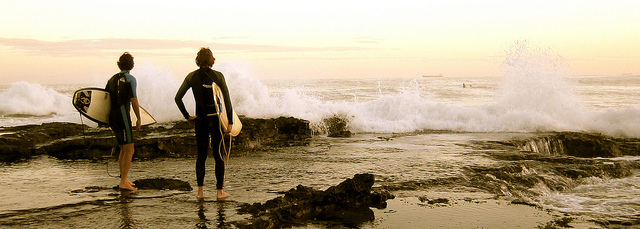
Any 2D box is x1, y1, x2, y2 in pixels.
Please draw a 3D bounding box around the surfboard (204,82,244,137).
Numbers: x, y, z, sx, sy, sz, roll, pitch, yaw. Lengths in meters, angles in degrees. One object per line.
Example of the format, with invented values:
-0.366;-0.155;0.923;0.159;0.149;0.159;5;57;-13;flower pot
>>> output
-5.978;-0.370;32.490;1.011;3.414;2.003;-25;-2;39;surfboard
